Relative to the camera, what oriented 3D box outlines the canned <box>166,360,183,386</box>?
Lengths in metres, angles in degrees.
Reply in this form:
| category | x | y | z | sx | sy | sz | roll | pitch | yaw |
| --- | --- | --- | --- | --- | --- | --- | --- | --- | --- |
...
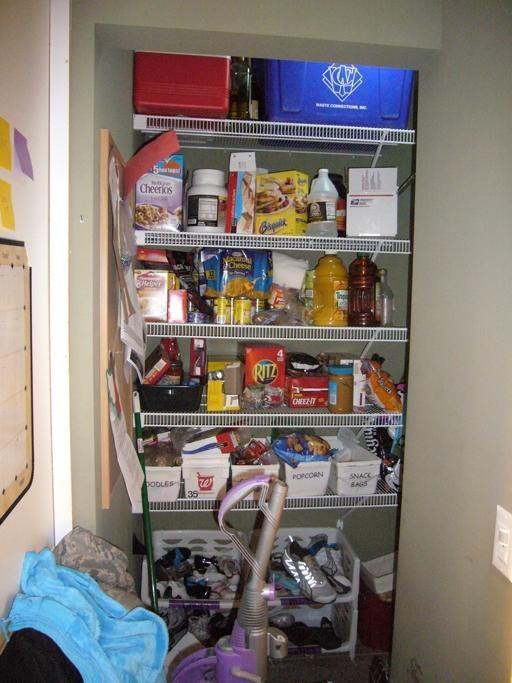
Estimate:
| category | x | y | z | sx | sy | sz | roll | pitch | yaw |
| --- | --- | --- | --- | --- | --- | --- | --- | --- | --- |
| canned | -0.275 | 0.107 | 1.893 | 0.056 | 0.113 | 0.062 | 1 | -3 | -11 |

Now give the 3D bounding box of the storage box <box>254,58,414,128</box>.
| category | x | y | z | sx | sy | sz | roll | pitch | yaw |
| --- | --- | --- | --- | --- | --- | --- | --- | --- | --- |
| storage box | 0.263 | -0.780 | 1.785 | 0.375 | 0.169 | 0.248 | -5 | 24 | -14 |

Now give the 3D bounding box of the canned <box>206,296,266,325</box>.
| category | x | y | z | sx | sy | sz | roll | pitch | yaw |
| --- | --- | --- | --- | --- | --- | --- | --- | --- | --- |
| canned | -0.066 | -0.093 | 1.933 | 0.179 | 0.114 | 0.110 | -4 | -26 | -5 |

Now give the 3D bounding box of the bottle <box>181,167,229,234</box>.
| category | x | y | z | sx | sy | sz | roll | pitch | yaw |
| --- | --- | --- | --- | --- | --- | --- | --- | --- | --- |
| bottle | -0.157 | -0.444 | 1.827 | 0.119 | 0.210 | 0.122 | 3 | 3 | 0 |

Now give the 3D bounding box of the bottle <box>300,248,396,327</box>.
| category | x | y | z | sx | sy | sz | roll | pitch | yaw |
| --- | --- | --- | --- | --- | --- | --- | --- | --- | --- |
| bottle | 0.282 | -0.168 | 1.934 | 0.320 | 0.343 | 0.197 | -2 | 3 | -11 |

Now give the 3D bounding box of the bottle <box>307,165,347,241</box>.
| category | x | y | z | sx | sy | sz | roll | pitch | yaw |
| --- | --- | --- | --- | --- | --- | --- | --- | --- | --- |
| bottle | 0.244 | -0.459 | 1.883 | 0.160 | 0.217 | 0.152 | 0 | 9 | 0 |

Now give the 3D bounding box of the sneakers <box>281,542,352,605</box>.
| category | x | y | z | sx | sy | sz | roll | pitch | yaw |
| --- | --- | --- | --- | --- | --- | --- | --- | --- | --- |
| sneakers | 0.183 | 0.749 | 1.770 | 0.123 | 0.146 | 0.384 | 2 | -5 | -15 |

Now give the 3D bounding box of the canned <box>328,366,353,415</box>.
| category | x | y | z | sx | sy | sz | roll | pitch | yaw |
| --- | --- | --- | --- | --- | --- | --- | --- | --- | --- |
| canned | 0.280 | 0.158 | 1.891 | 0.079 | 0.154 | 0.053 | 1 | 9 | 8 |

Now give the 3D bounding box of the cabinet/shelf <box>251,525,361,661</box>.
| category | x | y | z | sx | sy | sz | roll | pitch | yaw |
| --- | --- | --- | --- | --- | --- | --- | --- | --- | --- |
| cabinet/shelf | 0.091 | 1.027 | 2.242 | 0.579 | 0.461 | 0.439 | 4 | -32 | 0 |

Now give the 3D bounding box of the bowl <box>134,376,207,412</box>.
| category | x | y | z | sx | sy | sz | roll | pitch | yaw |
| --- | --- | --- | --- | --- | --- | --- | --- | --- | --- |
| bowl | -0.274 | 0.179 | 1.811 | 0.202 | 0.098 | 0.073 | -3 | 9 | -14 |
